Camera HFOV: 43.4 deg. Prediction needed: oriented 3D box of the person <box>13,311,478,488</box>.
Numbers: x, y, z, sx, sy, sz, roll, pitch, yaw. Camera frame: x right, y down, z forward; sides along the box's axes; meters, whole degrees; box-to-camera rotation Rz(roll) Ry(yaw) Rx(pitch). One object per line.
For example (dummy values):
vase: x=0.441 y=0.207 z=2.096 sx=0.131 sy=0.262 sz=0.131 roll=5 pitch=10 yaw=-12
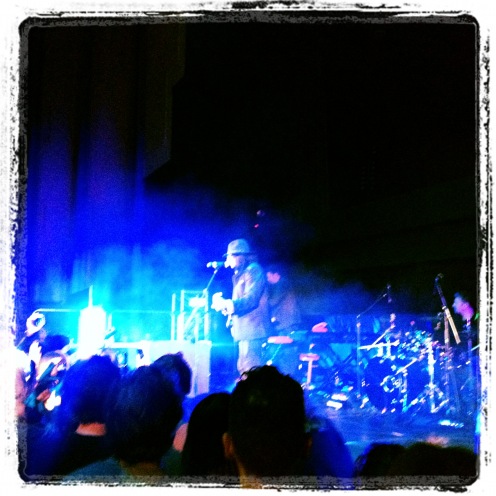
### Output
person: x=-0.296 y=1.523 z=5.764 sx=3.875 sy=1.083 sz=1.292 roll=-2 pitch=-9 yaw=16

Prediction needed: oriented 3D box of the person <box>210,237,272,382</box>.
person: x=-0.076 y=0.672 z=6.357 sx=0.519 sy=1.889 sz=0.683 roll=1 pitch=-20 yaw=-2
